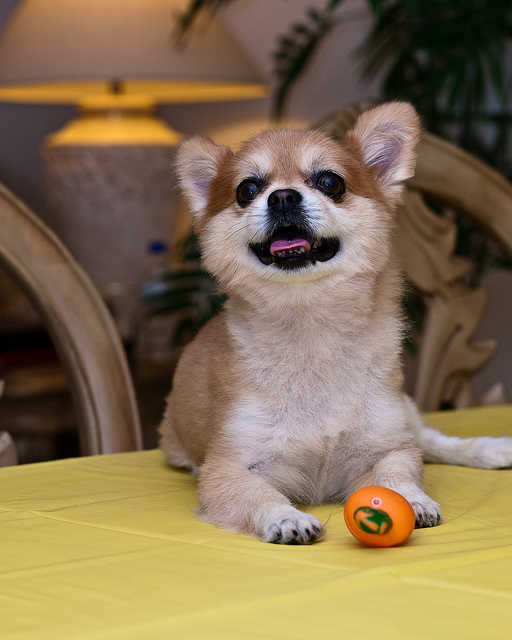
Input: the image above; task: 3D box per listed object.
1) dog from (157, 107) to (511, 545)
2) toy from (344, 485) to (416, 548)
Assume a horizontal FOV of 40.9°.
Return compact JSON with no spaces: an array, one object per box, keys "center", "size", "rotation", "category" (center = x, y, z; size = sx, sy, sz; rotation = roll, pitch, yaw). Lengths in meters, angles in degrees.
[{"center":[0.230,0.004,1.753],"size":[0.995,0.794,0.954],"rotation":[1,-1,-10],"category":"dog"},{"center":[0.229,0.344,1.206],"size":[0.143,0.082,0.111],"rotation":[-16,58,33],"category":"toy"}]
